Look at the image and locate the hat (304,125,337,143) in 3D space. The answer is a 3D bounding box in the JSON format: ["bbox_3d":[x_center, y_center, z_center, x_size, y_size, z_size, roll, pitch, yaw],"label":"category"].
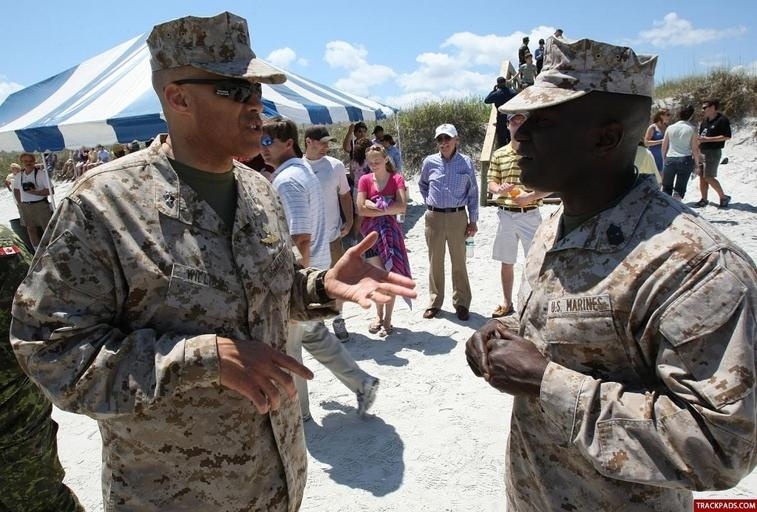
[{"bbox_3d":[-0.601,-1.186,5.405,0.225,0.118,0.159,-1,10,10],"label":"hat"}]

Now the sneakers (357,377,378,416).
[{"bbox_3d":[-0.126,1.178,4.709,0.164,0.371,0.121,6,28,-21],"label":"sneakers"}]

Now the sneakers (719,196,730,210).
[{"bbox_3d":[6.839,-1.046,10.973,0.101,0.132,0.310,-3,49,55],"label":"sneakers"}]

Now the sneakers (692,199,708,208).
[{"bbox_3d":[6.532,-1.057,11.279,0.153,0.179,0.381,-5,9,-32],"label":"sneakers"}]
